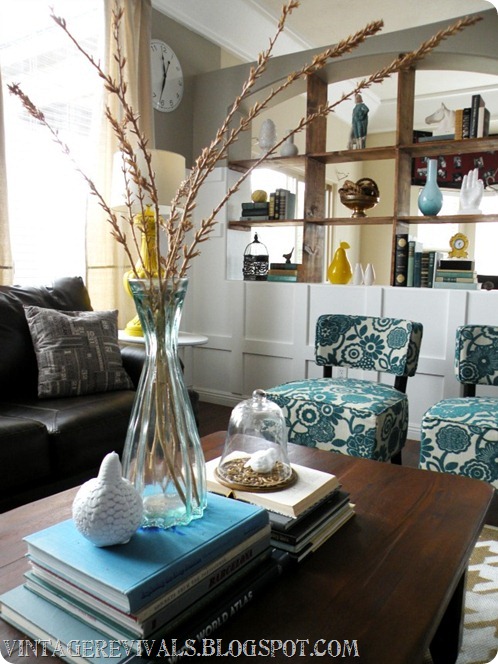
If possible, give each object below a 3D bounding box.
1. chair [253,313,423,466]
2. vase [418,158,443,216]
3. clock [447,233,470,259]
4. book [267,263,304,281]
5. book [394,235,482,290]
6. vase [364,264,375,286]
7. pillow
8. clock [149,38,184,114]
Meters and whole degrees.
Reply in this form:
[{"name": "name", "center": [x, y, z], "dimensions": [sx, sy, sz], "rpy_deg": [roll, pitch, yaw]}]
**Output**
[{"name": "chair", "center": [0.482, 0.218, 2.332], "dimensions": [0.752, 0.769, 0.751], "rpy_deg": [3, 6, 32]}, {"name": "vase", "center": [1.136, -0.911, 3.020], "dimensions": [0.137, 0.417, 0.239], "rpy_deg": [4, 3, 19]}, {"name": "clock", "center": [1.267, -0.522, 2.912], "dimensions": [0.097, 0.186, 0.238], "rpy_deg": [4, 3, 23]}, {"name": "book", "center": [0.254, -0.422, 3.432], "dimensions": [0.168, 0.100, 0.164], "rpy_deg": [-1, 1, 14]}, {"name": "book", "center": [1.174, -0.320, 2.997], "dimensions": [0.565, 0.413, 0.351], "rpy_deg": [1, 2, 30]}, {"name": "vase", "center": [0.772, -0.368, 3.091], "dimensions": [0.054, 0.135, 0.057], "rpy_deg": [3, 3, 3]}, {"name": "pillow", "center": [-0.748, 0.092, 2.076], "dimensions": [0.438, 0.360, 0.204], "rpy_deg": [0, -9, -35]}, {"name": "clock", "center": [-0.594, -1.820, 3.448], "dimensions": [0.083, 0.491, 0.425], "rpy_deg": [4, 3, 17]}]
